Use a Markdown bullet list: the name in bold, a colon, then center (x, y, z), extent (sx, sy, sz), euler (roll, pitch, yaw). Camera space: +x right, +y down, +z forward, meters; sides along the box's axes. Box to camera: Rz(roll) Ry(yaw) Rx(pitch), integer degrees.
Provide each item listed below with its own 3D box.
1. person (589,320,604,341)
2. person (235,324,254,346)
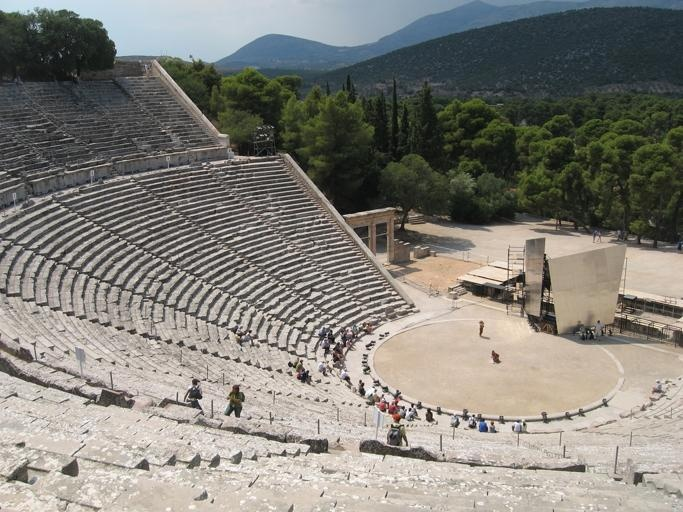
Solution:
- **person**: center (13.817, 4.001, 36.268), extent (0.677, 0.952, 1.004), euler (16, 12, 25)
- **person**: center (-4.579, 3.857, 31.742), extent (0.816, 0.208, 0.842), euler (13, 36, -34)
